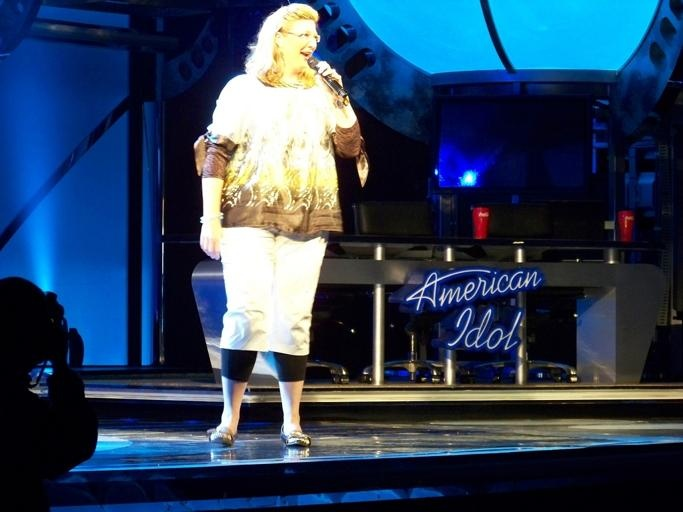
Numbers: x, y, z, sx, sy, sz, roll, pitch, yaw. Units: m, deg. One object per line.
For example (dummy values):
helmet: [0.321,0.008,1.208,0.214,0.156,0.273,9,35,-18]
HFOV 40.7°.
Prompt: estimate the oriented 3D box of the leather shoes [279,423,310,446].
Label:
leather shoes: [-0.208,0.853,4.265,0.135,0.080,0.200,3,11,-6]

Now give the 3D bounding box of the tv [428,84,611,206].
tv: [1.430,-0.950,7.579,1.258,0.794,0.131,0,2,-2]

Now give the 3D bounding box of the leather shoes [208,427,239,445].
leather shoes: [-0.566,0.835,4.265,0.067,0.043,0.115,3,-6,-32]

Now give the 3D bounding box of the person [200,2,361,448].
person: [-0.311,-0.120,4.307,0.772,2.108,0.550,2,12,-9]

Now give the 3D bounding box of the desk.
desk: [1.046,0.387,6.862,3.291,1.011,1.045,1,3,41]
